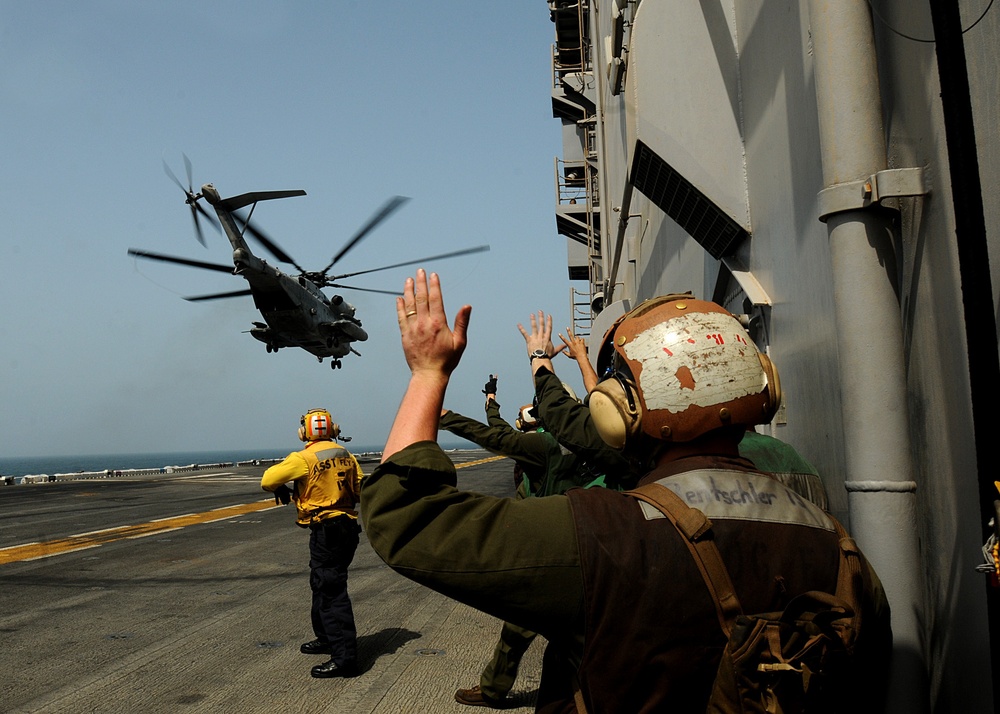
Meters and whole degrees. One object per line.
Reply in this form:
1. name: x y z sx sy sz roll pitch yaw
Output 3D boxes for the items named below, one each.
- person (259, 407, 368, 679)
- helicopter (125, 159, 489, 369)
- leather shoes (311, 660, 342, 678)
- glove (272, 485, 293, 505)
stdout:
1. person: -1.390 1.381 6.791 0.708 1.975 1.199 -3 -6 -12
2. helicopter: -5.189 -1.490 19.689 5.167 2.151 6.658 -2 -9 9
3. leather shoes: -1.253 2.270 6.450 0.239 0.100 0.104 7 -12 -6
4. glove: -1.715 1.094 6.986 0.110 0.122 0.295 1 -18 -17
